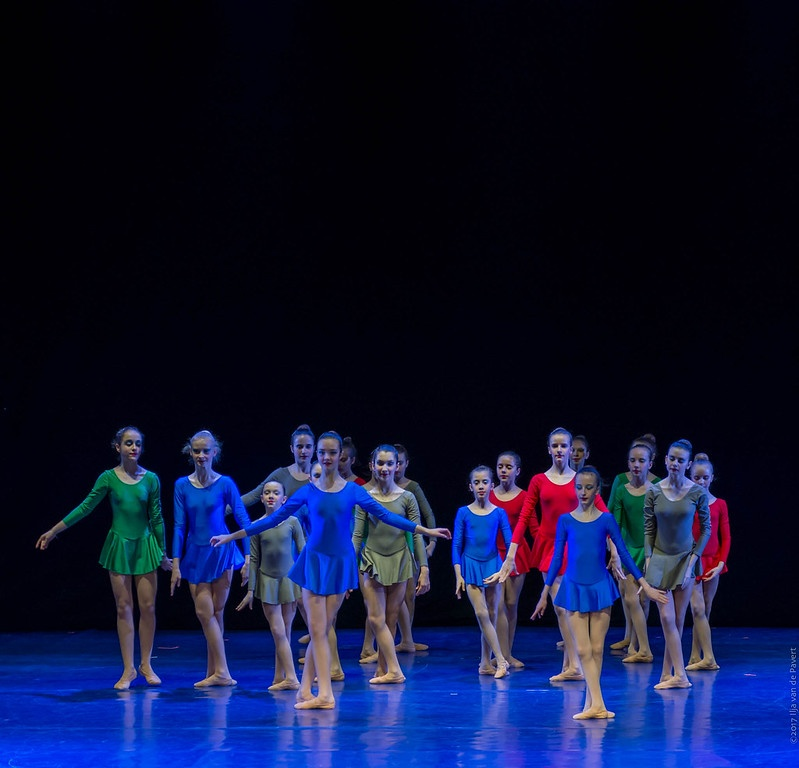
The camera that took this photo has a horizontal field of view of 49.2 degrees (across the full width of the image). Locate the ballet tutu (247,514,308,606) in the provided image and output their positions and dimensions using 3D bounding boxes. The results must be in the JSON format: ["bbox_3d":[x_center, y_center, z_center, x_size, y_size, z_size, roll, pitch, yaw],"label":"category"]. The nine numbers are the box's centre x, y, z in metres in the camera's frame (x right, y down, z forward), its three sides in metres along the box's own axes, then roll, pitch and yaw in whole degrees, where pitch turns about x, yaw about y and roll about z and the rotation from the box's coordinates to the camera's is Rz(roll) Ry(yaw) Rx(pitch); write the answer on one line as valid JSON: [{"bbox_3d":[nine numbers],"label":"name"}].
[{"bbox_3d":[-0.641,0.893,4.616,0.266,0.535,0.192,0,22,-9],"label":"ballet tutu"}]

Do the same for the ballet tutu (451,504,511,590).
[{"bbox_3d":[0.493,1.024,5.140,0.347,0.600,0.313,-2,-47,8],"label":"ballet tutu"}]

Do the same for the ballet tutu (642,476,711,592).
[{"bbox_3d":[1.436,0.804,4.523,0.279,0.670,0.238,-1,-34,26],"label":"ballet tutu"}]

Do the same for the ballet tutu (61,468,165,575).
[{"bbox_3d":[-1.886,0.902,5.628,0.841,0.839,0.329,2,-9,-29],"label":"ballet tutu"}]

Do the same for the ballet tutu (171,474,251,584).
[{"bbox_3d":[-1.008,0.818,4.667,0.368,0.624,0.248,2,-32,-14],"label":"ballet tutu"}]

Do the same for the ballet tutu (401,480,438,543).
[{"bbox_3d":[0.116,0.788,5.925,0.193,0.404,0.470,4,-9,-21],"label":"ballet tutu"}]

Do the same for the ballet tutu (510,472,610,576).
[{"bbox_3d":[0.975,0.862,5.286,0.648,0.731,0.373,-2,-26,10],"label":"ballet tutu"}]
